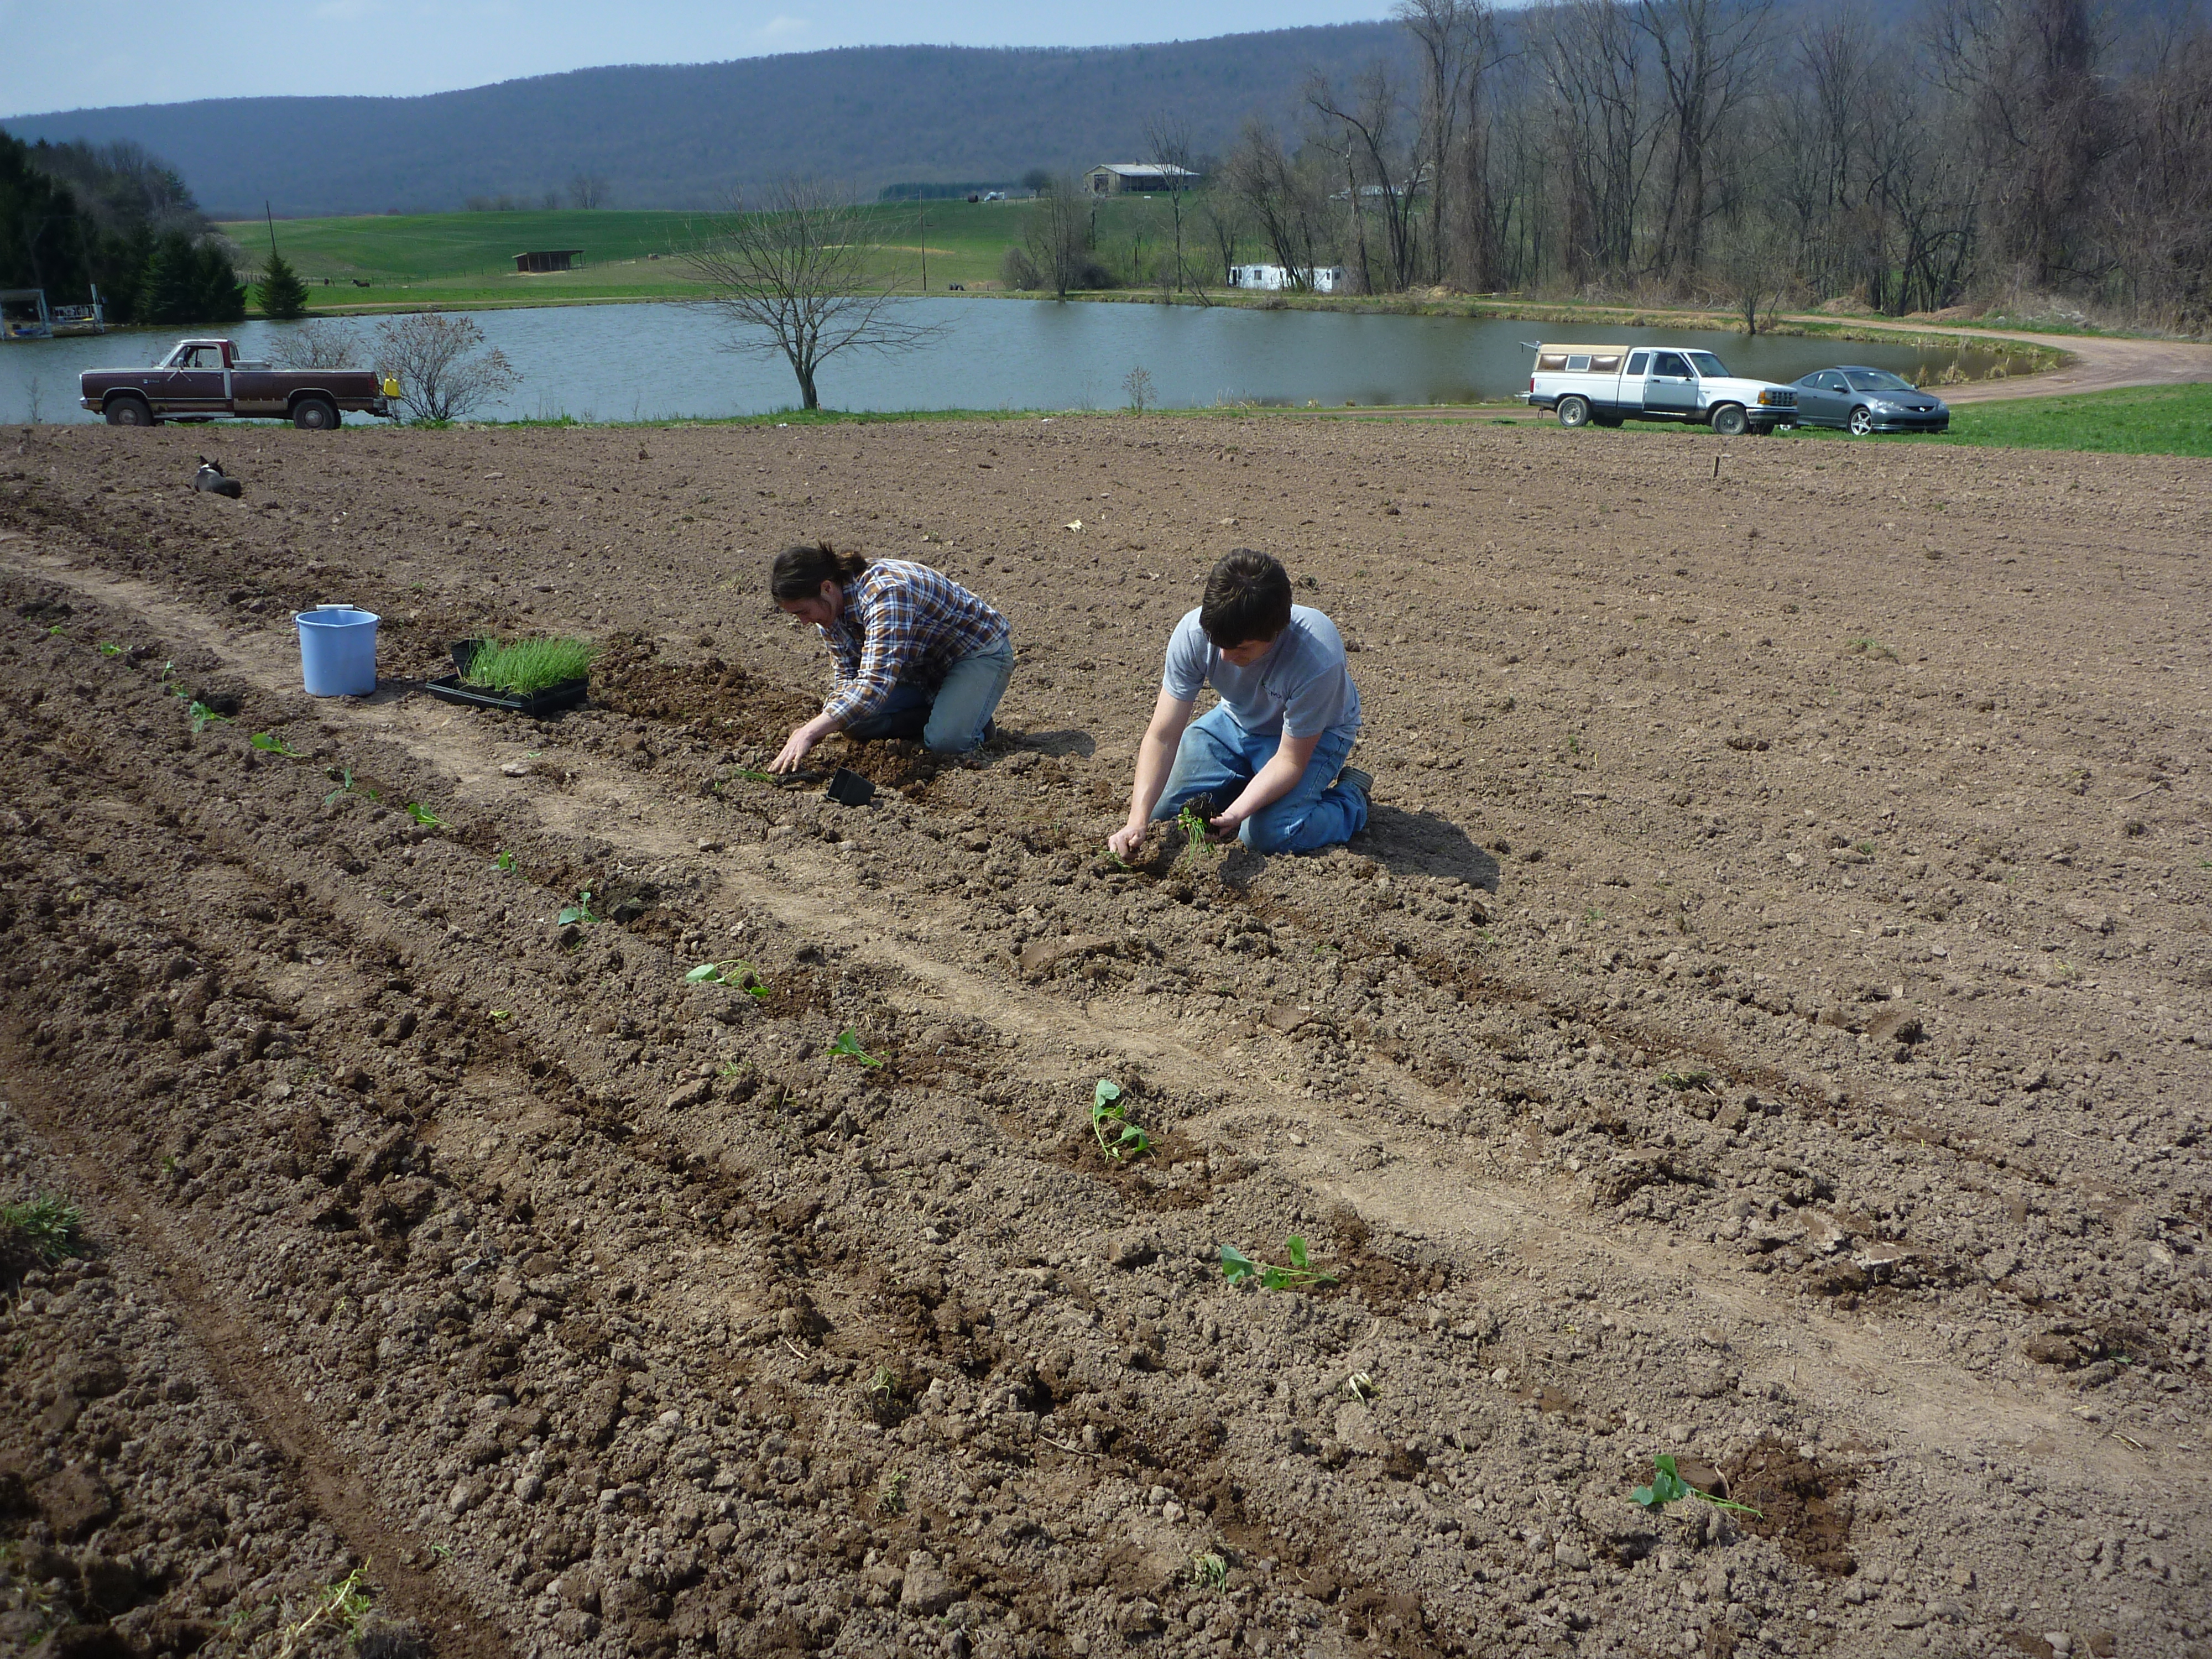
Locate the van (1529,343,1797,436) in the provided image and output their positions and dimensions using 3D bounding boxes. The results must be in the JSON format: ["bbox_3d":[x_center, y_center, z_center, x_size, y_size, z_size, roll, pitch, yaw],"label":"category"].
[{"bbox_3d":[6.706,-5.445,24.241,1.225,1.050,3.273,-22,26,-36],"label":"van"}]

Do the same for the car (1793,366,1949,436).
[{"bbox_3d":[9.286,-5.119,24.127,1.024,0.802,2.528,-4,19,-8],"label":"car"}]

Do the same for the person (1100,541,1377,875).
[{"bbox_3d":[0.581,-0.589,8.501,1.249,1.489,0.886,-8,34,-8],"label":"person"}]

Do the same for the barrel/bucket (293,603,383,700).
[{"bbox_3d":[-4.106,-0.966,10.571,0.488,0.443,0.476,3,27,-1],"label":"barrel/bucket"}]

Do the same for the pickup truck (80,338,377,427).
[{"bbox_3d":[-10.870,-5.574,24.879,3.871,1.399,1.575,-1,13,-13],"label":"pickup truck"}]
